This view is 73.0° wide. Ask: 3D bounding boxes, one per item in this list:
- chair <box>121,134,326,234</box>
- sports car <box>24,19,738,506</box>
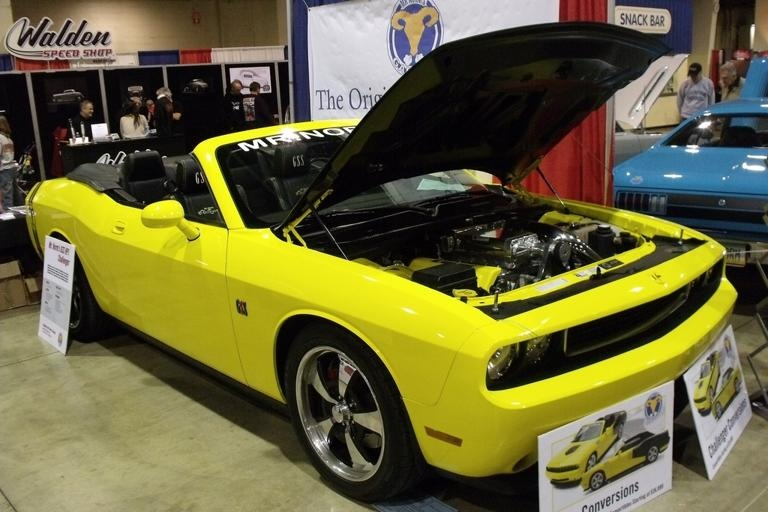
[{"bbox_3d":[-1.136,-0.583,3.903,1.182,0.524,0.731,5,23,41],"label":"chair"},{"bbox_3d":[-0.410,-0.213,3.820,2.538,2.022,4.580,-18,26,-42],"label":"sports car"}]
